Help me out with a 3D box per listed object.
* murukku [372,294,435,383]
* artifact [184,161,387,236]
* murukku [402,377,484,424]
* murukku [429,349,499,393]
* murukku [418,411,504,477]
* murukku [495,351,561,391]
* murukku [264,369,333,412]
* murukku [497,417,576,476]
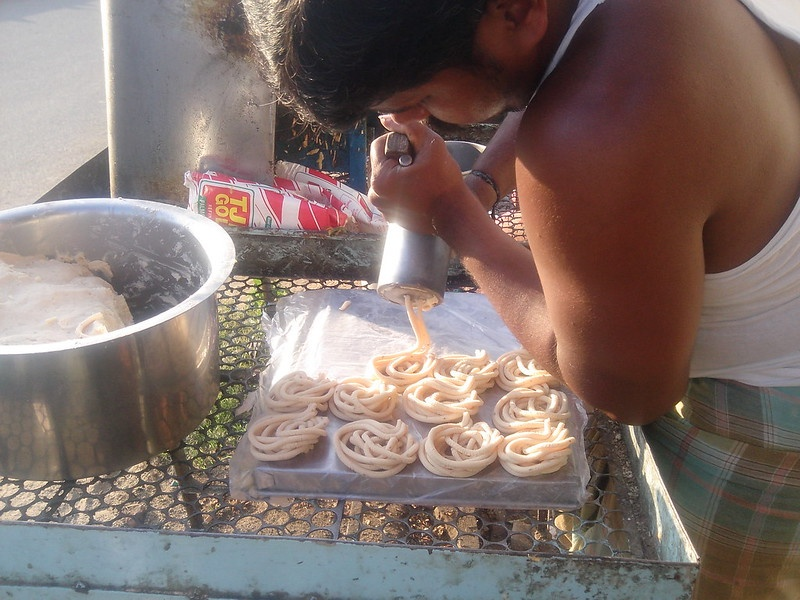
[{"bbox_3d":[0.023,0.102,1.747,0.173,0.199,0.170,-6,17,-40],"label":"murukku"},{"bbox_3d":[-0.366,-0.291,2.128,0.373,0.102,0.287,11,22,-12],"label":"artifact"},{"bbox_3d":[0.097,0.231,1.681,0.186,0.058,0.186,-21,10,-14],"label":"murukku"},{"bbox_3d":[0.162,0.172,1.736,0.109,0.040,0.106,6,20,17],"label":"murukku"},{"bbox_3d":[0.128,0.310,1.488,0.118,0.037,0.109,-15,25,-16],"label":"murukku"},{"bbox_3d":[0.305,0.197,1.734,0.143,0.146,0.045,24,55,15],"label":"murukku"},{"bbox_3d":[-0.240,0.225,1.626,0.172,0.063,0.161,-6,21,-5],"label":"murukku"},{"bbox_3d":[0.270,0.316,1.493,0.135,0.062,0.144,-11,7,13],"label":"murukku"}]
